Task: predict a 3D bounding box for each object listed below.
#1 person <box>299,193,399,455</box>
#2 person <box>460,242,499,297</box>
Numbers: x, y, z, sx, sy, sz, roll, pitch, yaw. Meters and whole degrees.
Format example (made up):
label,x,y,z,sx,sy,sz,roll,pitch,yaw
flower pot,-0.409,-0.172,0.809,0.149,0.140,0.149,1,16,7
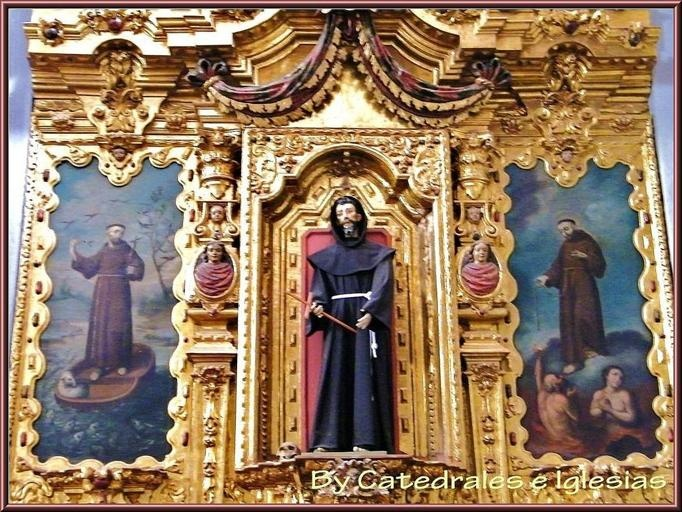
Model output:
label,x,y,z,sx,sy,sz,roll,pitch,yaw
person,0.097,0.687,17.069,0.923,2.723,0.812,-1,-30,-1
person,1.457,0.116,17.397,0.318,0.658,0.266,-21,-35,31
